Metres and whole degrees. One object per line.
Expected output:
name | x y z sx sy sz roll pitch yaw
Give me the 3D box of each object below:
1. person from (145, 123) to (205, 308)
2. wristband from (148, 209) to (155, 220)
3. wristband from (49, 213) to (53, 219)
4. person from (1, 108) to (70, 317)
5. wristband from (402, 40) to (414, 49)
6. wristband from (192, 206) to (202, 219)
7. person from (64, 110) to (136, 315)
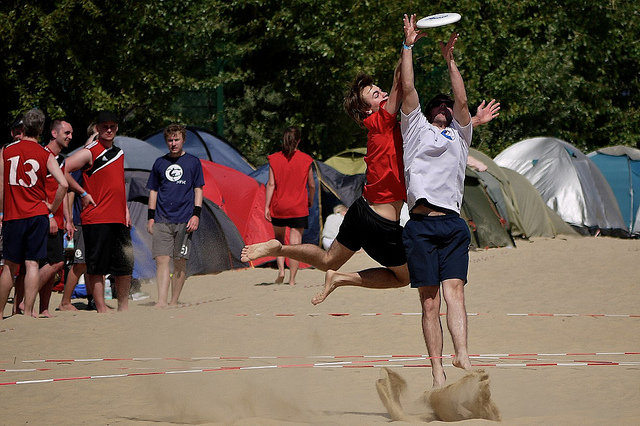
person | -2.640 0.061 20.236 1.005 3.304 0.414 -2 -1 -10
wristband | -3.082 0.034 20.236 0.148 0.155 0.146 4 -4 -23
wristband | -4.752 0.056 19.575 0.055 0.075 0.105 -2 -1 -12
person | -5.072 -0.002 19.353 1.064 3.587 0.439 -2 -1 -2
wristband | 1.327 -2.529 16.974 0.134 0.168 0.427 -2 -1 4
wristband | -2.258 0.010 20.247 0.172 0.226 0.157 22 -22 -17
person | -3.931 0.002 19.919 1.088 3.571 0.448 -1 -2 -23
